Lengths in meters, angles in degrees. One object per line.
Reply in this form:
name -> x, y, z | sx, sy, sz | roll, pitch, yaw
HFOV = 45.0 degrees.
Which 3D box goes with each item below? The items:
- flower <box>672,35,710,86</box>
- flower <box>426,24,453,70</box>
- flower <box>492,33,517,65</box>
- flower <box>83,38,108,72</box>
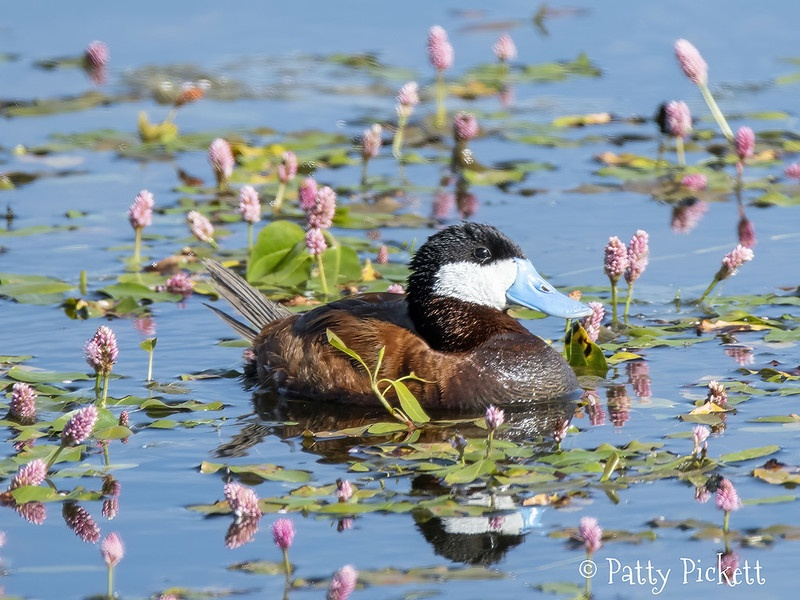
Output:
flower -> 2.671, -2.163, 8.927 | 0.305, 0.450, 0.485 | 7, 33, 12
flower -> 0.393, -2.517, 9.593 | 0.313, 0.405, 0.217 | -10, 13, 18
flower -> 1.235, -2.961, 11.404 | 0.147, 0.327, 0.367 | 23, 38, 33
flower -> -3.635, -2.924, 11.531 | 0.301, 0.282, 0.328 | -9, 32, -13
